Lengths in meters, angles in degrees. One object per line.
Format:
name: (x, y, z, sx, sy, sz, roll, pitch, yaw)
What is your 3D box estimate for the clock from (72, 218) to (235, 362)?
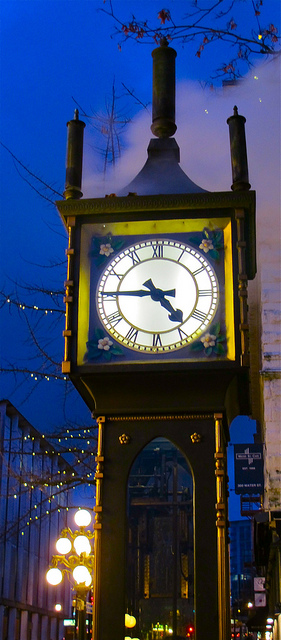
clock: (0.130, -0.174, 5.779, 0.970, 1.104, 0.080, 0, -27, 5)

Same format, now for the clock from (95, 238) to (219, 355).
clock: (0.128, -0.171, 5.787, 0.889, 1.009, 0.052, -2, -33, 5)
